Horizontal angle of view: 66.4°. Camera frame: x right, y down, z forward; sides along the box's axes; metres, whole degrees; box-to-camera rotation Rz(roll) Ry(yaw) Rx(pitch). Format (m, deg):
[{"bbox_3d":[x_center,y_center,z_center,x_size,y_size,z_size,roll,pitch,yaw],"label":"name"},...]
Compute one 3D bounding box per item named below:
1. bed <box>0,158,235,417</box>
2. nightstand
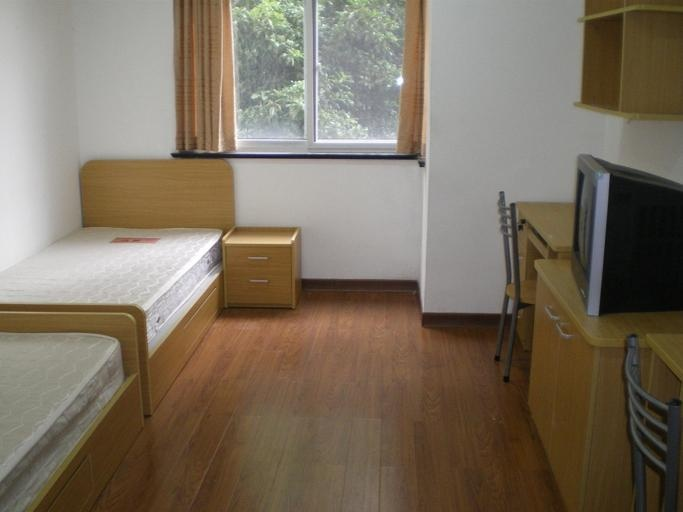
[{"bbox_3d":[-1.592,0.100,4.037,1.221,1.315,1.823,3,19,8],"label":"bed"},{"bbox_3d":[-0.722,0.092,4.659,0.642,0.644,0.552,4,18,4],"label":"nightstand"}]
